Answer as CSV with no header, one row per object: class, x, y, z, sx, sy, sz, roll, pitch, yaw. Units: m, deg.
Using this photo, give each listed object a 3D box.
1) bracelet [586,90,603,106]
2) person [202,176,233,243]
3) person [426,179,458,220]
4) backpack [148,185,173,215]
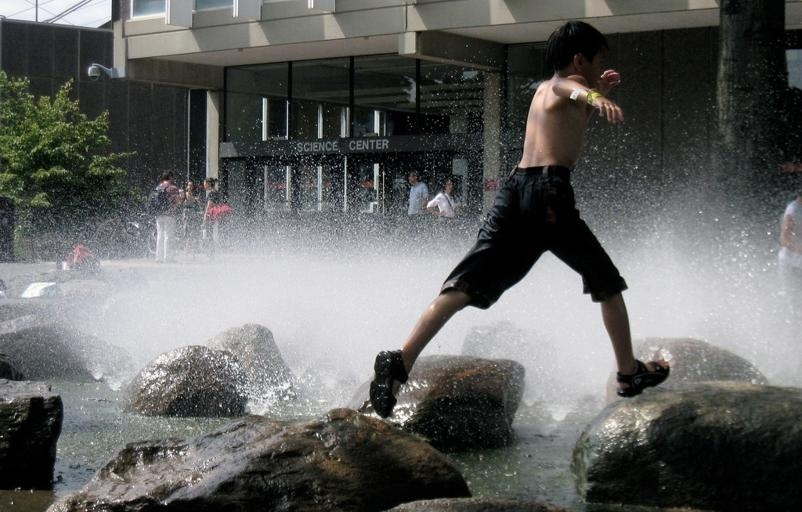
bracelet,1.868,-1.526,9.586,0.138,0.122,0.117,-21,5,-19
person,-4.595,-1.110,24.469,0.474,1.560,1.065,1,4,2
person,1.004,-1.247,22.176,0.411,0.923,0.945,-11,-18,35
backpack,-5.187,-1.161,21.359,0.509,0.611,0.272,1,4,7
